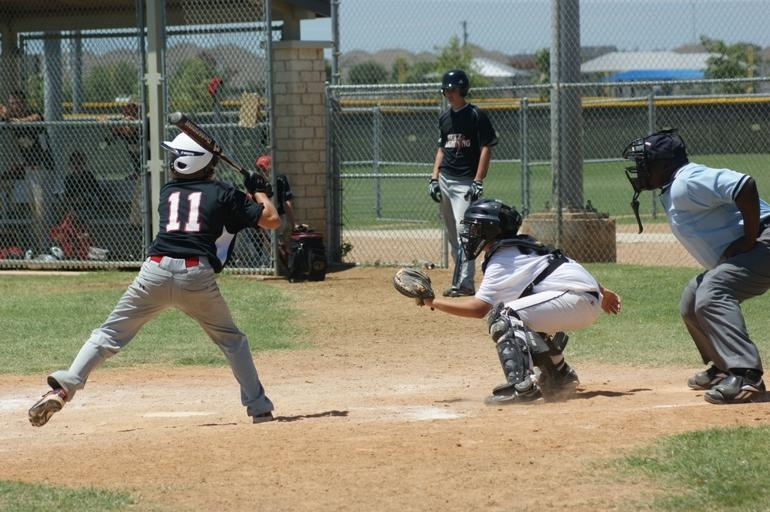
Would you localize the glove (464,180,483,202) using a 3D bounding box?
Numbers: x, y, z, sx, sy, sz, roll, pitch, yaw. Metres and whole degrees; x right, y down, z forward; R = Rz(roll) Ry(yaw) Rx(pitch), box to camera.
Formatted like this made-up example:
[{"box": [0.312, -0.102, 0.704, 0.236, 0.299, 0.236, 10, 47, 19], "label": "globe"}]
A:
[{"box": [1.212, -0.823, 15.246, 0.119, 0.284, 0.218, 5, 36, -40], "label": "glove"}]

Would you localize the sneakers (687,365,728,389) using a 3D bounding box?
[{"box": [3.139, 1.199, 11.644, 0.402, 0.152, 0.159, -21, 24, 12], "label": "sneakers"}]

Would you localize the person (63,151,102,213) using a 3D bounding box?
[{"box": [-4.822, -1.169, 18.926, 0.619, 0.921, 0.425, -31, 27, -34], "label": "person"}]

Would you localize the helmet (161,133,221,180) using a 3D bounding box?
[{"box": [-1.887, -0.930, 11.418, 0.542, 0.367, 0.392, 12, -7, -31], "label": "helmet"}]

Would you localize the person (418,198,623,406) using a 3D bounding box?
[{"box": [1.333, 0.441, 11.440, 1.379, 1.911, 0.744, -1, 16, 8], "label": "person"}]

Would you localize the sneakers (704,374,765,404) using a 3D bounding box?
[{"box": [3.304, 1.236, 11.130, 0.680, 0.237, 0.224, -2, 0, -8], "label": "sneakers"}]

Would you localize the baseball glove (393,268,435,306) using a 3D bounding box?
[{"box": [0.272, 0.246, 11.482, 0.420, 0.174, 0.320, 31, 62, 23], "label": "baseball glove"}]

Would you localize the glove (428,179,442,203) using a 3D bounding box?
[{"box": [0.654, -0.869, 15.666, 0.125, 0.259, 0.207, -2, -18, -1], "label": "glove"}]

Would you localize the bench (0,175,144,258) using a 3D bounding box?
[{"box": [-5.025, -0.585, 18.839, 1.869, 0.085, 1.126, -2, 54, -22], "label": "bench"}]

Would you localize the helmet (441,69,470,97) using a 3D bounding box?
[{"box": [0.919, -2.242, 15.453, 0.319, 0.261, 0.390, 10, 24, 35], "label": "helmet"}]
